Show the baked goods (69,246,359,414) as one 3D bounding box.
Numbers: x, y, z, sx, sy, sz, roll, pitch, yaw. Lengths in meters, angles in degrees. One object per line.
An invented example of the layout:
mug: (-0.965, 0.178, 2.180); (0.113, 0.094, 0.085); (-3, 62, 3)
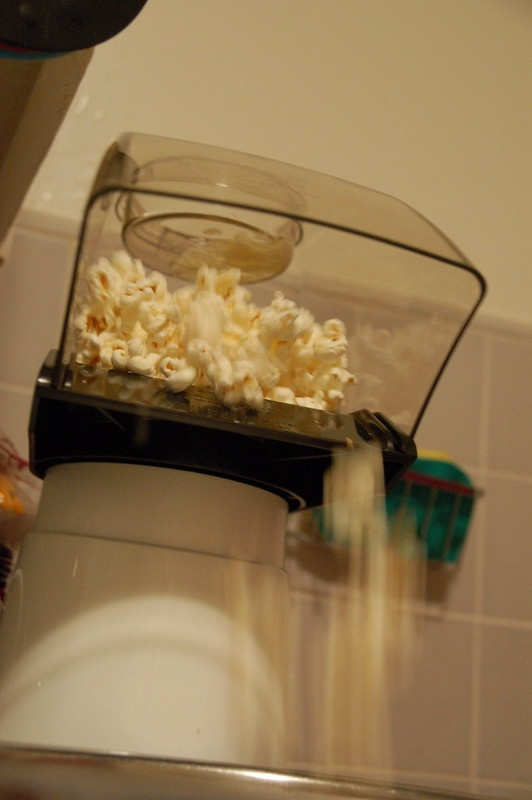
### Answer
baked goods: (-0.035, -0.026, 0.484); (0.143, 0.089, 0.063); (10, -38, -22)
